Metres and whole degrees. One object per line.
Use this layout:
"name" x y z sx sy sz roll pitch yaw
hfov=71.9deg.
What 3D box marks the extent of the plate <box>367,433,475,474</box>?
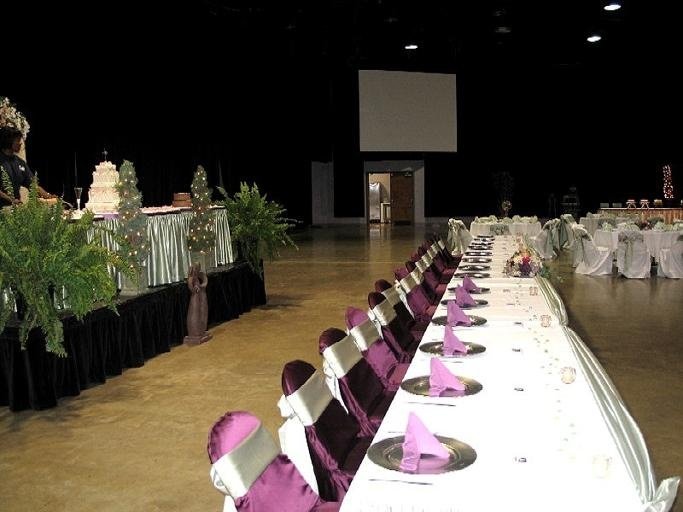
"plate" 0.287 0.712 1.713 0.392 0.046 0.264 -1 6 9
